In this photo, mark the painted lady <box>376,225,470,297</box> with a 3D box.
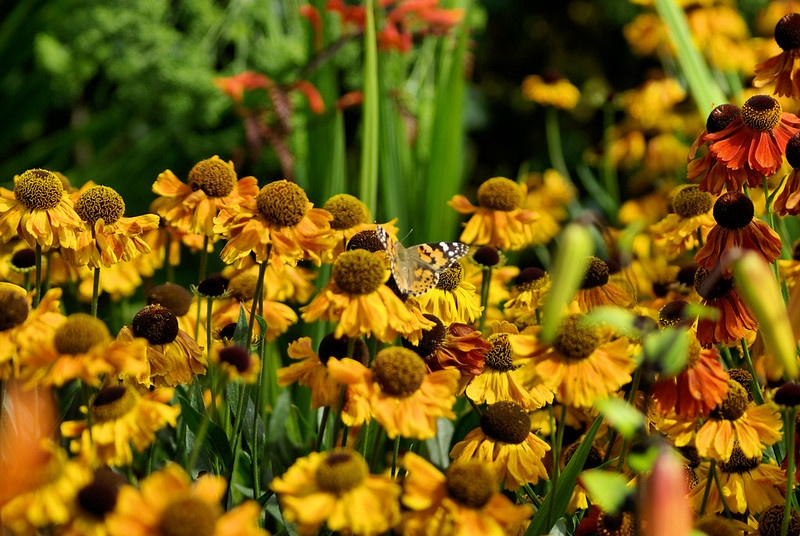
[{"bbox_3d":[0.070,0.004,3.144,0.303,0.205,0.221,13,21,-22],"label":"painted lady"}]
